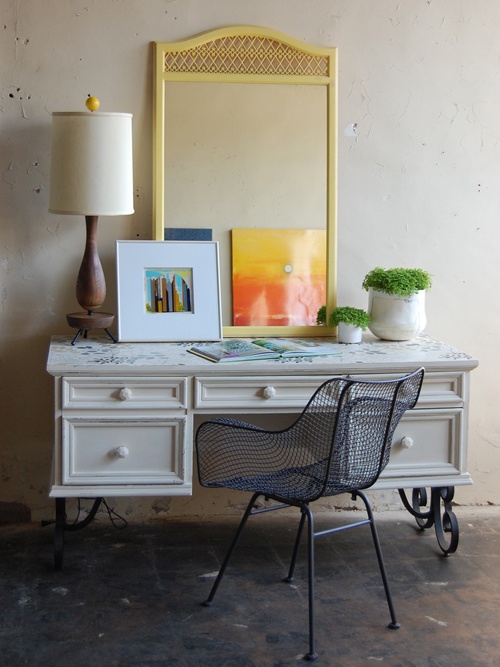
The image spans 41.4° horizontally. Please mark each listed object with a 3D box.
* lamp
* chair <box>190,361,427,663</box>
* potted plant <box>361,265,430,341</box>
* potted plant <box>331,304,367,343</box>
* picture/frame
[{"bbox_3d":[-0.559,-0.392,2.346,0.289,0.855,0.314,1,7,-4],"label":"lamp"},{"bbox_3d":[0.162,0.431,2.161,0.753,0.888,0.774,0,2,-38],"label":"chair"},{"bbox_3d":[0.514,-0.115,2.555,0.319,0.311,0.261,-1,6,-3],"label":"potted plant"},{"bbox_3d":[0.351,-0.040,2.501,0.155,0.134,0.131,0,5,-4],"label":"potted plant"},{"bbox_3d":[-0.303,-0.150,2.432,0.444,0.380,0.043,-1,-6,-14],"label":"picture/frame"}]
